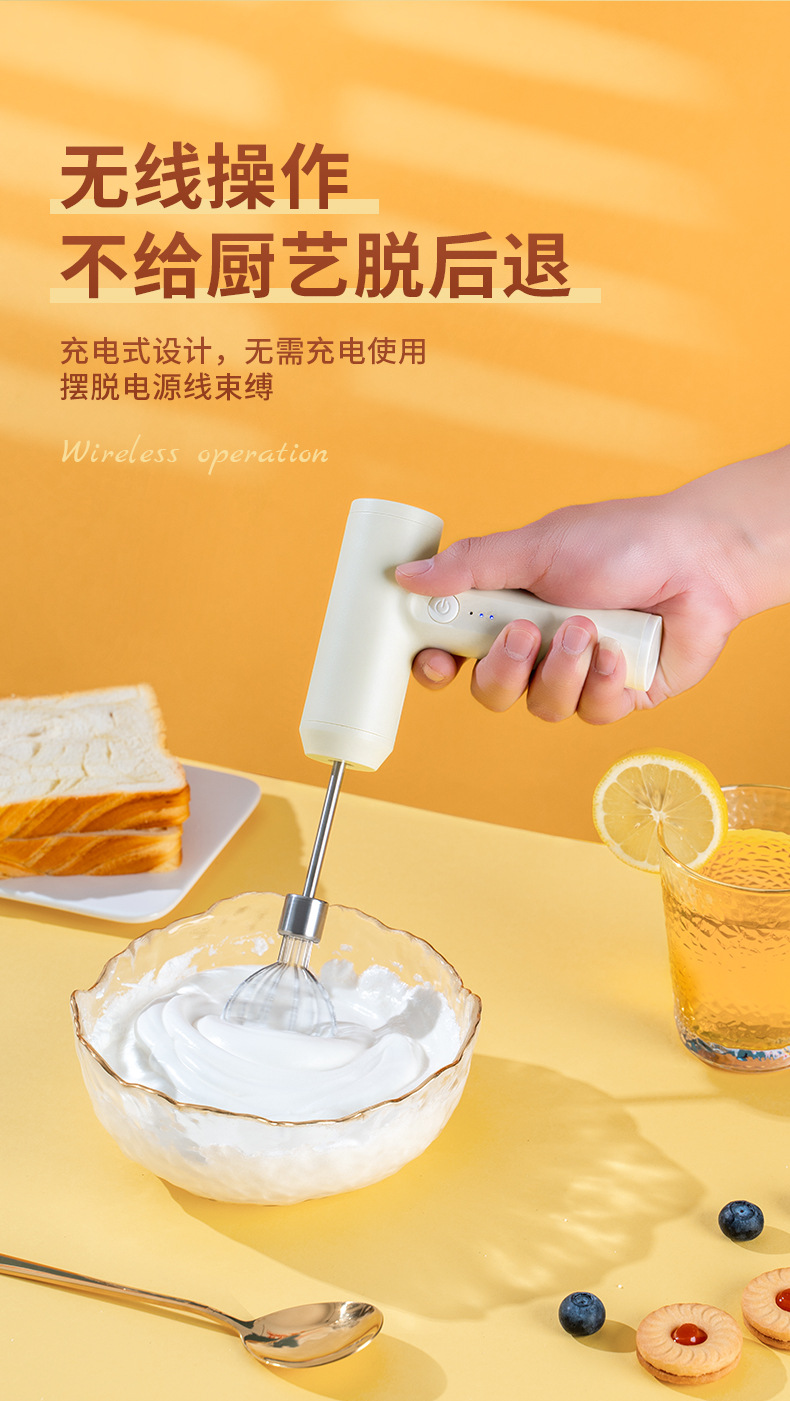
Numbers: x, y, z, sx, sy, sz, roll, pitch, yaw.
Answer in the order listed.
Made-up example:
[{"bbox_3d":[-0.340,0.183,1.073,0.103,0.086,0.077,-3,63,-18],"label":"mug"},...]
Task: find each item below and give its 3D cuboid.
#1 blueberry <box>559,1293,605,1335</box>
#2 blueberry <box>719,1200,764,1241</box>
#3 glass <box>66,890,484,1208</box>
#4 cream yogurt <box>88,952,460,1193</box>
[{"bbox_3d":[0.080,0.260,0.508,0.016,0.011,0.015,-14,17,-36],"label":"blueberry"},{"bbox_3d":[0.165,0.247,0.569,0.022,0.015,0.018,6,5,10],"label":"blueberry"},{"bbox_3d":[-0.041,0.178,0.590,0.156,0.062,0.144,-9,27,-17],"label":"glass"},{"bbox_3d":[-0.068,0.182,0.571,0.128,0.049,0.125,0,17,5],"label":"cream yogurt"}]
